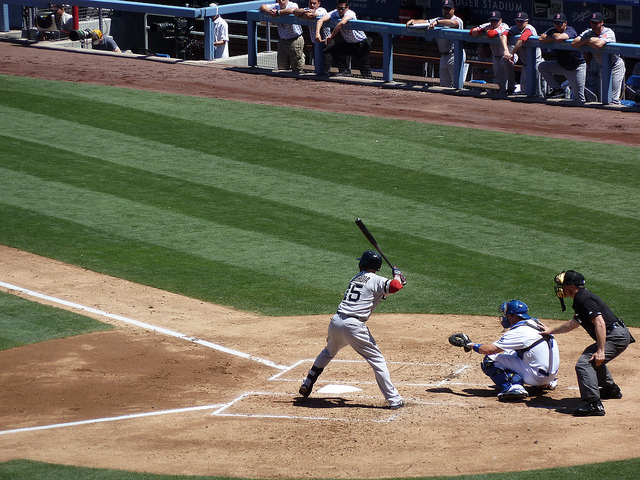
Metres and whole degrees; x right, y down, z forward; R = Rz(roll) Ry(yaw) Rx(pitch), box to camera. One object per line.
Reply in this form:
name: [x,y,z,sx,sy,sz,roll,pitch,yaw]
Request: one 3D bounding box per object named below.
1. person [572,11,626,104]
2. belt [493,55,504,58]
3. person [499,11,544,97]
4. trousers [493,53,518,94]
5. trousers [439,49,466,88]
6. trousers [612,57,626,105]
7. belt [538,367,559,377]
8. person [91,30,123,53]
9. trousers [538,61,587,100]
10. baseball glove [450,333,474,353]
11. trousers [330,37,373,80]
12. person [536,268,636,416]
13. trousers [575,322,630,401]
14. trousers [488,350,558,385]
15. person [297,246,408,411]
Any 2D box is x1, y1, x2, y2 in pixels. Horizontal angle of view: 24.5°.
person: [5.942,-3.865,31.354,1.072,1.929,1.046,3,7,10]
belt: [3.904,-4.007,32.243,0.203,0.053,0.020,3,7,21]
person: [4.414,-4.033,32.108,1.011,1.826,1.253,3,7,8]
trousers: [4.069,-3.654,32.543,0.510,0.866,0.713,2,7,5]
trousers: [2.883,-3.875,33.442,0.315,0.818,0.708,2,6,4]
trousers: [6.350,-3.368,31.414,0.249,0.968,0.668,3,7,10]
belt: [3.513,2.027,22.748,0.245,0.065,0.155,5,4,-24]
person: [-5.604,-5.045,37.807,0.649,0.230,0.829,1,-9,27]
trousers: [5.267,-3.464,31.912,1.589,0.742,2.466,1,6,9]
baseball glove: [2.209,1.583,22.761,0.428,0.156,0.282,14,21,20]
trousers: [0.514,-4.184,34.276,1.213,1.016,0.960,2,10,9]
person: [4.092,1.558,22.527,1.306,2.138,0.863,2,7,3]
trousers: [4.295,1.851,22.494,0.521,1.167,0.779,7,8,35]
trousers: [2.905,2.081,23.123,1.431,0.365,0.885,-1,-11,-8]
person: [0.643,1.389,22.763,1.583,2.393,1.021,-1,7,-20]
